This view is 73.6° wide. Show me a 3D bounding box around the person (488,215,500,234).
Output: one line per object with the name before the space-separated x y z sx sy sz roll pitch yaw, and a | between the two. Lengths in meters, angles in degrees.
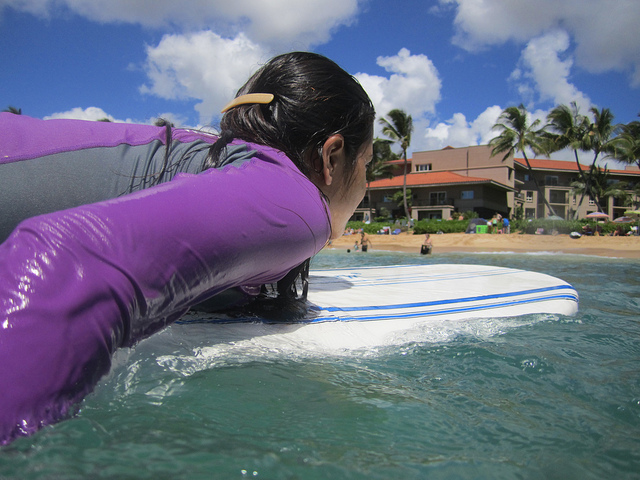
person | 10.057 -0.888 24.768 0.582 0.922 1.505 15 8 20

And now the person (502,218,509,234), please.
person | 10.766 -0.763 24.966 0.397 0.772 1.473 15 8 20

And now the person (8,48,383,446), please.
person | -0.143 0.003 1.170 1.108 0.460 0.840 1 26 -35

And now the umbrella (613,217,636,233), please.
umbrella | 18.363 -0.865 25.897 1.305 1.163 1.225 -1 1 -10

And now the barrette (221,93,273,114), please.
barrette | -0.219 -0.401 1.248 0.199 0.063 0.044 16 8 40

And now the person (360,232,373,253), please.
person | 2.197 0.147 20.340 0.757 1.011 0.484 -9 25 -8

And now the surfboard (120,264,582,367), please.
surfboard | 0.485 0.387 2.308 2.485 0.160 0.829 6 3 -41
